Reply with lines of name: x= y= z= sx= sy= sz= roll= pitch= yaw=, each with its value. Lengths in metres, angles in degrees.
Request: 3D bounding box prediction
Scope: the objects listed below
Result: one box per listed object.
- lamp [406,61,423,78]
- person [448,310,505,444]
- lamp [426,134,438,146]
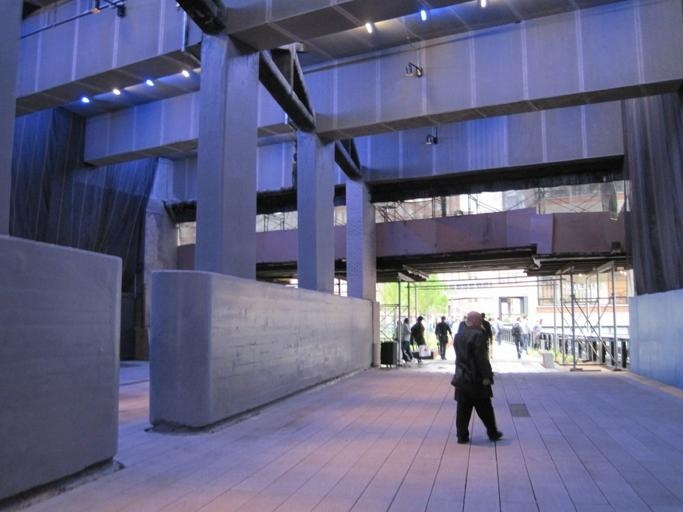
lamp: x=1.860 y=-4.725 z=13.544 sx=0.395 sy=0.436 sz=0.288 roll=7 pitch=-6 yaw=-39
person: x=1.958 y=1.742 z=7.742 sx=0.658 sy=1.866 sz=0.641 roll=-3 pitch=-5 yaw=17
lamp: x=2.894 y=-3.742 z=16.921 sx=0.407 sy=0.335 sz=0.486 roll=-3 pitch=-5 yaw=10
